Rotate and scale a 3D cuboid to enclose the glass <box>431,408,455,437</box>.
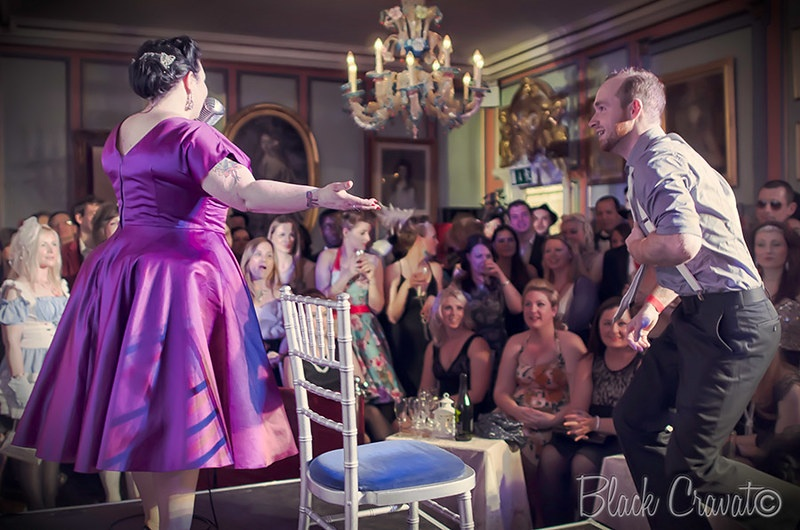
[{"bbox_3d":[0.274,0.964,4.732,0.145,0.164,0.158,-4,-7,20],"label":"glass"}]

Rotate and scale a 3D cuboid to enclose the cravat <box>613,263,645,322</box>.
[{"bbox_3d":[1.450,0.164,4.792,0.047,0.396,0.058,22,2,36],"label":"cravat"}]
